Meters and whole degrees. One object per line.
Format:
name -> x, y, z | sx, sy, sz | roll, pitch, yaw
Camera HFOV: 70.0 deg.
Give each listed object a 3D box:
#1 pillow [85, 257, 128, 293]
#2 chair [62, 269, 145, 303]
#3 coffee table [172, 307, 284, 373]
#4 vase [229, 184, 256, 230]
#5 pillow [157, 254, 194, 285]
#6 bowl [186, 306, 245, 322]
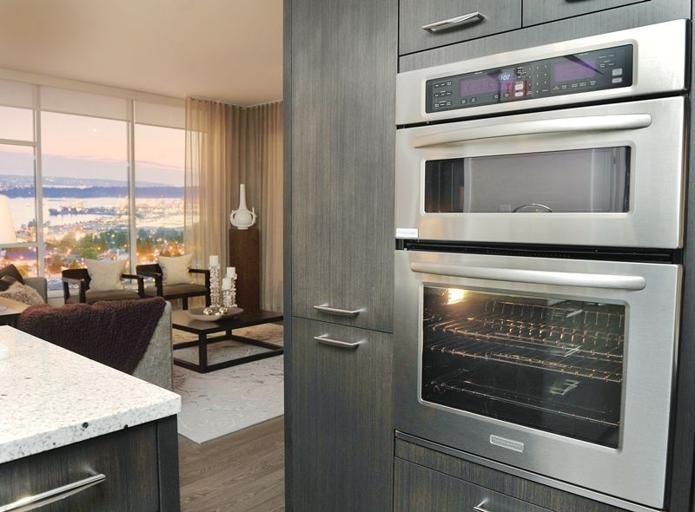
pillow -> -2.881, 0.233, 5.904 | 0.421, 0.371, 0.156 | 0, -19, -31
chair -> -2.818, 0.347, 5.664 | 0.457, 0.516, 0.442 | 2, 4, 45
coffee table -> -1.354, 0.782, 4.973 | 0.792, 0.304, 0.782 | 3, 5, 42
vase -> -1.591, -0.744, 7.568 | 0.411, 0.669, 0.475 | 1, 5, -10
pillow -> -2.274, 0.183, 6.548 | 0.380, 0.323, 0.183 | -6, -34, -26
bowl -> -1.377, 0.573, 4.998 | 0.528, 0.090, 0.493 | 2, 5, 0
